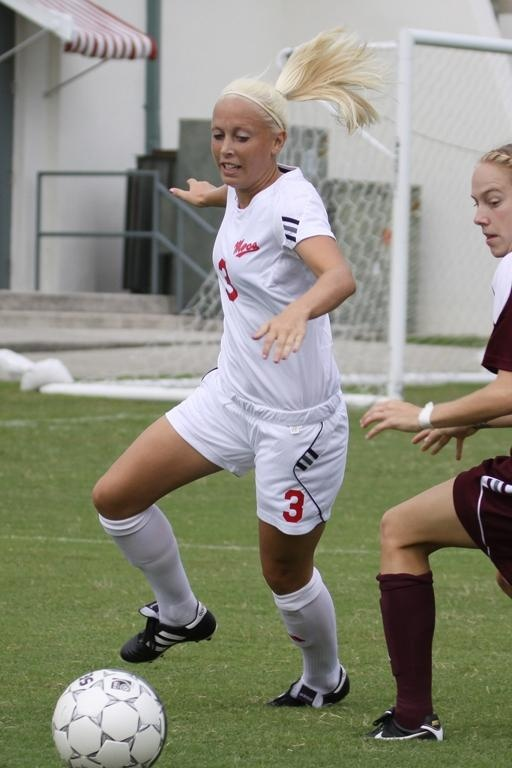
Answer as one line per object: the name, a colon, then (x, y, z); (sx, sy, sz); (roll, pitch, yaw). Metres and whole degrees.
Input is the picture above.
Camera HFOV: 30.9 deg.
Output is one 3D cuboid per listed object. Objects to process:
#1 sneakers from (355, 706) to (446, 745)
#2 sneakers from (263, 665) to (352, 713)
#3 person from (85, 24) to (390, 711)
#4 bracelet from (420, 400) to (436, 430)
sneakers: (0.319, 0.753, 2.063); (0.181, 0.064, 0.068); (-4, -11, 28)
sneakers: (0.136, 0.784, 2.377); (0.235, 0.081, 0.079); (-1, -8, -14)
person: (0.061, -0.019, 2.237); (0.732, 1.676, 0.676); (-11, 17, -41)
bracelet: (0.352, 0.063, 1.924); (0.024, 0.052, 0.032); (27, -12, -40)
